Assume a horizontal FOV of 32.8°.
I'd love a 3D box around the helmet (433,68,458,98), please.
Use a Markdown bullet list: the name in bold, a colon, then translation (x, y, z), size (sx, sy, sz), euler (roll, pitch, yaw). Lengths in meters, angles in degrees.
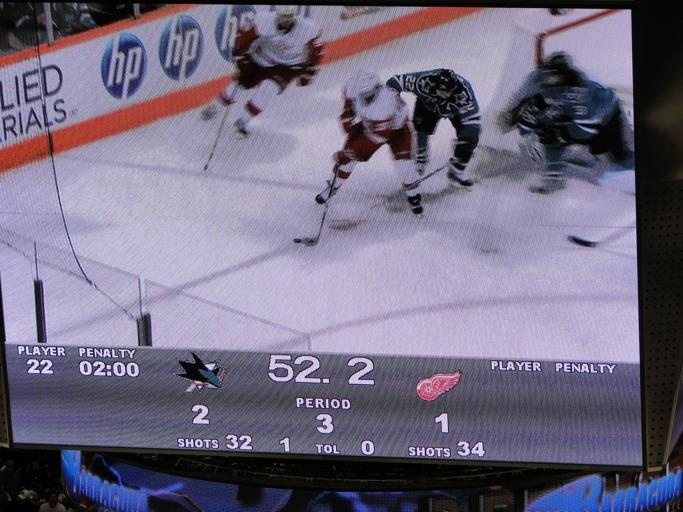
- **helmet**: translation (0.499, -0.795, 5.393), size (0.104, 0.124, 0.129), euler (2, 56, 9)
